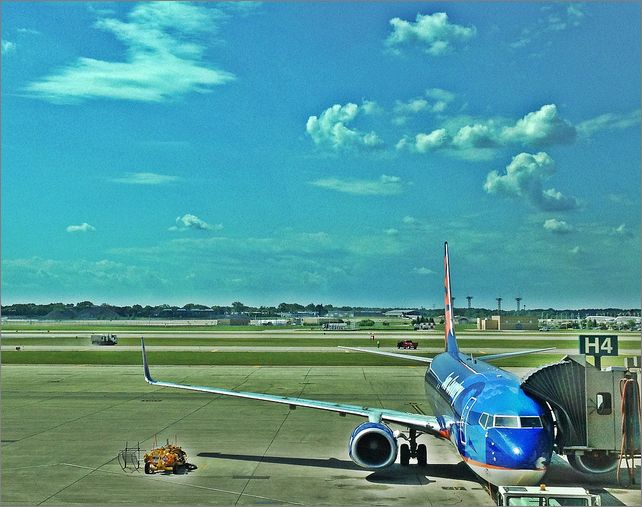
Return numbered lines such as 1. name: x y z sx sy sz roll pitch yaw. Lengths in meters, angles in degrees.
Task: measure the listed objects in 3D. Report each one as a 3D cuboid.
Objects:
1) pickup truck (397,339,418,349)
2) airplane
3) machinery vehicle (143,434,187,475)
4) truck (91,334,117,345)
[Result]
1. pickup truck: 12.477 13.199 115.063 2.372 0.923 1.475 -1 2 6
2. airplane: 8.953 6.212 42.488 13.949 11.422 10.280 -1 -2 42
3. machinery vehicle: -9.047 11.473 44.849 1.857 1.126 2.870 -7 -4 -10
4. truck: -33.293 13.189 121.773 3.003 1.353 1.994 2 0 10
